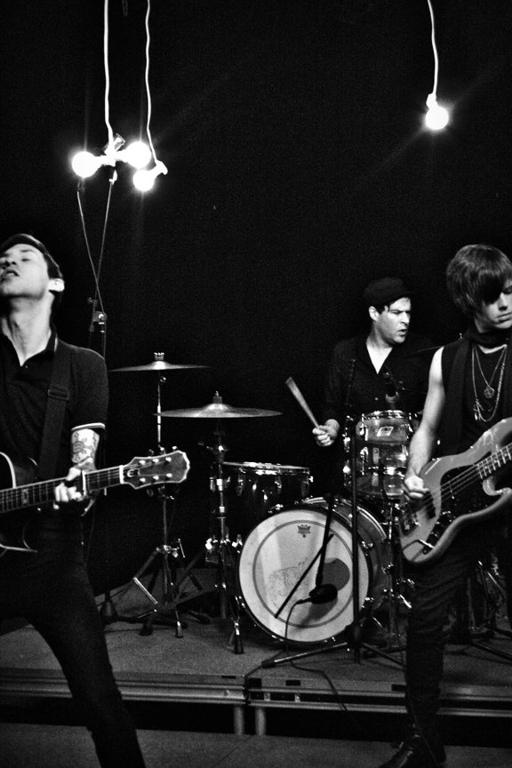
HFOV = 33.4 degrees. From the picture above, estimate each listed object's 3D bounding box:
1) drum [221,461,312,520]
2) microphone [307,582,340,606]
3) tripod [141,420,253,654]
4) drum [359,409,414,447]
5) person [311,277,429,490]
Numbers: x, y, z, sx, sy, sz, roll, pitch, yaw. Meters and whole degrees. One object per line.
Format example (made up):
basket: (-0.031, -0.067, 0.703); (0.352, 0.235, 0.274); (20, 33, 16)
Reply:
drum: (0.061, 0.447, 3.958); (0.308, 0.288, 0.307); (-1, 3, -8)
microphone: (0.275, 0.843, 3.423); (0.124, 0.065, 0.049); (-11, -17, 4)
tripod: (-0.199, 0.734, 4.442); (0.870, 1.261, 0.762); (1, -5, -9)
drum: (0.546, 0.192, 3.550); (0.161, 0.098, 0.162); (-1, -6, 0)
person: (0.573, -0.046, 4.186); (0.752, 1.092, 0.742); (0, -3, 8)
